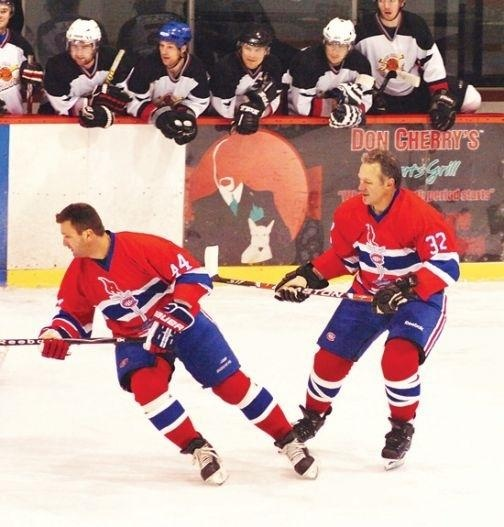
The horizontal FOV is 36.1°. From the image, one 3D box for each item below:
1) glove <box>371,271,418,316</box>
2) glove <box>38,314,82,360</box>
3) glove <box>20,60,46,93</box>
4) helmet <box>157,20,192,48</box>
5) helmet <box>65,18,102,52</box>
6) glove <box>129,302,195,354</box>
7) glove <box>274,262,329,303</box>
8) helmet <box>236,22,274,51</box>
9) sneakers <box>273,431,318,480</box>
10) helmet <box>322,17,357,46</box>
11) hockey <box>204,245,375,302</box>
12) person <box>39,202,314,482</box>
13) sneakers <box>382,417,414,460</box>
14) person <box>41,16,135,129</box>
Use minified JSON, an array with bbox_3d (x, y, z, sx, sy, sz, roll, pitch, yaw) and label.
[{"bbox_3d":[0.561,0.116,3.047,0.127,0.189,0.063,54,4,25],"label":"glove"},{"bbox_3d":[-0.737,0.285,3.050,0.097,0.141,0.179,-15,38,21],"label":"glove"},{"bbox_3d":[-1.600,-1.407,5.738,0.190,0.187,0.231,-5,5,-38],"label":"glove"},{"bbox_3d":[-0.550,-1.646,5.514,0.204,0.158,0.223,0,-10,-12],"label":"helmet"},{"bbox_3d":[-1.182,-1.641,5.488,0.225,0.195,0.228,3,10,5],"label":"helmet"},{"bbox_3d":[-0.323,0.239,2.826,0.144,0.218,0.064,46,-15,6],"label":"glove"},{"bbox_3d":[0.209,0.083,3.385,0.212,0.090,0.182,-35,-6,24],"label":"glove"},{"bbox_3d":[0.027,-1.652,5.654,0.204,0.164,0.238,6,22,9],"label":"helmet"},{"bbox_3d":[0.157,0.721,2.960,0.096,0.082,0.225,37,8,-27],"label":"sneakers"},{"bbox_3d":[0.625,-1.701,5.696,0.229,0.195,0.232,8,4,3],"label":"helmet"},{"bbox_3d":[0.119,0.043,3.779,0.088,0.201,1.105,-16,14,-38],"label":"hockey"},{"bbox_3d":[-0.389,0.379,3.614,0.813,0.630,1.242,14,35,-46],"label":"person"},{"bbox_3d":[0.576,0.679,3.029,0.087,0.084,0.212,3,22,24],"label":"sneakers"},{"bbox_3d":[-1.211,-1.347,5.598,0.788,0.770,0.312,-7,-7,-7],"label":"person"}]
